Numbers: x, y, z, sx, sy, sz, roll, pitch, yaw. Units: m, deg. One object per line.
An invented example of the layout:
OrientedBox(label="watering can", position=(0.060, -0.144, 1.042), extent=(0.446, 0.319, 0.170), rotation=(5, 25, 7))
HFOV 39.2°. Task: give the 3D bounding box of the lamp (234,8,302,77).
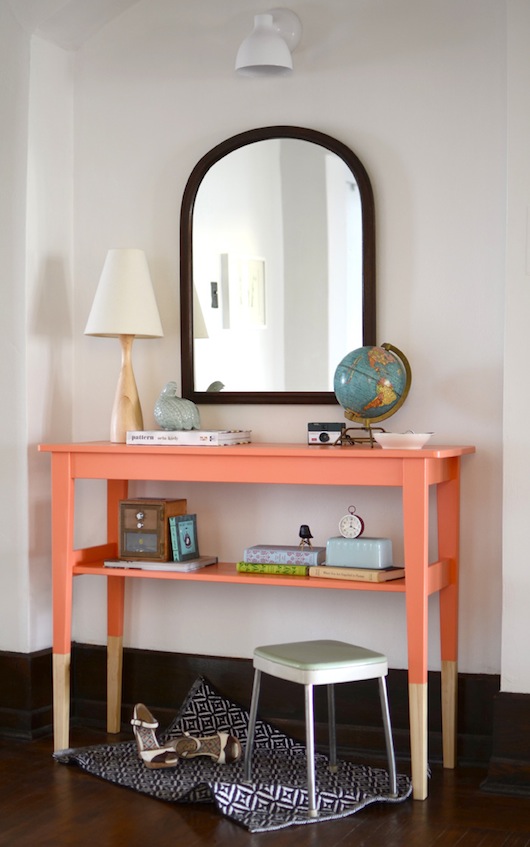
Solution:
OrientedBox(label="lamp", position=(0.009, -1.186, 2.284), extent=(0.173, 0.213, 0.206), rotation=(9, 14, 28))

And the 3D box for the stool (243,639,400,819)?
OrientedBox(label="stool", position=(0.131, 0.718, 1.791), extent=(0.296, 0.325, 0.336), rotation=(3, -8, -19))

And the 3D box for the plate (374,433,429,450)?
OrientedBox(label="plate", position=(0.341, 0.046, 1.876), extent=(0.131, 0.039, 0.059), rotation=(-2, -7, 8))

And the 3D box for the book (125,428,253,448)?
OrientedBox(label="book", position=(-0.227, 0.048, 2.205), extent=(0.328, 0.074, 0.283), rotation=(-2, -7, 11))

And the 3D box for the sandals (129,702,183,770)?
OrientedBox(label="sandals", position=(-0.318, 0.878, 2.111), extent=(0.078, 0.086, 0.216), rotation=(2, 10, -24))

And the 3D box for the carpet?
OrientedBox(label="carpet", position=(-0.063, 0.908, 2.035), extent=(0.412, 0.113, 0.607), rotation=(5, -10, -35))

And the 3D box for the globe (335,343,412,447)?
OrientedBox(label="globe", position=(0.302, -0.086, 2.119), extent=(0.214, 0.314, 0.187), rotation=(9, 4, -9))

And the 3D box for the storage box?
OrientedBox(label="storage box", position=(-0.364, 0.336, 2.347), extent=(0.174, 0.180, 0.153), rotation=(0, -4, 11))

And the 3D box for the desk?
OrientedBox(label="desk", position=(0.011, 0.579, 2.191), extent=(0.963, 0.750, 0.329), rotation=(-1, -2, 20))

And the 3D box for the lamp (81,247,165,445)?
OrientedBox(label="lamp", position=(-0.452, -0.257, 2.391), extent=(0.222, 0.639, 0.312), rotation=(-2, -7, 8))

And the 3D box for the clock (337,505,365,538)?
OrientedBox(label="clock", position=(0.239, 0.290, 2.096), extent=(0.058, 0.068, 0.067), rotation=(1, -7, -13))

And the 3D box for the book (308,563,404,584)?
OrientedBox(label="book", position=(0.234, 0.407, 2.001), extent=(0.262, 0.036, 0.127), rotation=(-2, -7, 13))

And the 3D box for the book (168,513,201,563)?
OrientedBox(label="book", position=(-0.251, 0.355, 2.295), extent=(0.031, 0.123, 0.116), rotation=(-3, -2, 22))

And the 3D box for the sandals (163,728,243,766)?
OrientedBox(label="sandals", position=(-0.171, 0.904, 2.079), extent=(0.211, 0.087, 0.060), rotation=(-1, -3, 12))
